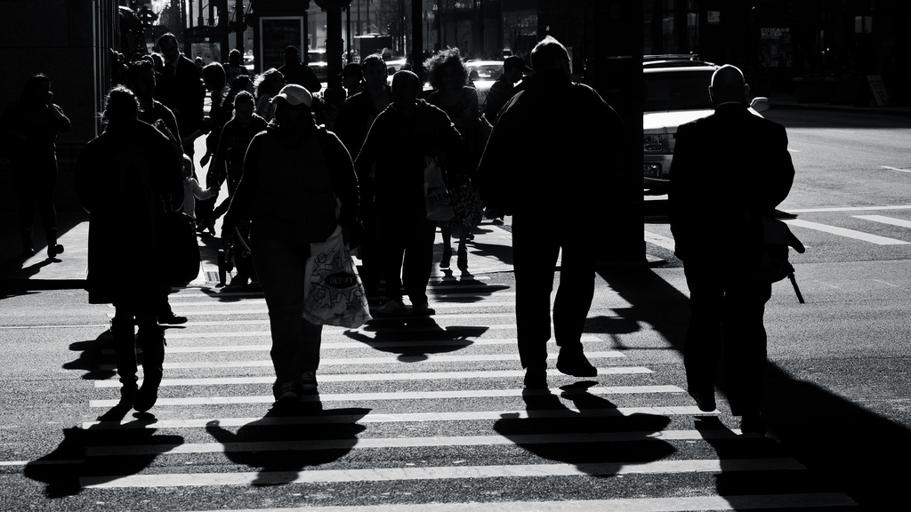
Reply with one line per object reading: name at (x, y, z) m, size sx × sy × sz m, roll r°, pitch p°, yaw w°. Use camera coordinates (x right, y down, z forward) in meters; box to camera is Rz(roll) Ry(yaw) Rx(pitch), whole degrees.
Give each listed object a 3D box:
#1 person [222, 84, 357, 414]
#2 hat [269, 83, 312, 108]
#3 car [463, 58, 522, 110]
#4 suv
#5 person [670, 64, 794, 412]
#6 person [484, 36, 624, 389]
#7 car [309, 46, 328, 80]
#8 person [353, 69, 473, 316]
person at (-1.477, -0.120, 9.138) m, size 1.102 × 2.834 × 0.864 m, roll -7°, pitch 13°, yaw -26°
hat at (-1.514, -1.467, 9.078) m, size 0.311 × 0.143 × 0.229 m, roll 18°, pitch -7°, yaw -33°
car at (0.995, -5.727, 32.748) m, size 2.338 × 1.573 × 3.717 m, roll -1°, pitch 5°, yaw -6°
suv at (4.859, -2.920, 20.629) m, size 3.071 × 1.919 × 4.387 m, roll -1°, pitch 6°, yaw 2°
person at (2.298, -0.115, 8.326) m, size 0.946 × 2.887 × 0.844 m, roll 5°, pitch 14°, yaw 26°
person at (0.903, -0.364, 9.282) m, size 1.341 × 3.204 × 0.657 m, roll 0°, pitch 12°, yaw 3°
car at (-8.464, -12.198, 61.423) m, size 1.249 × 2.422 × 0.873 m, roll -10°, pitch -7°, yaw 4°
person at (-0.559, -0.699, 11.861) m, size 1.237 × 2.960 × 0.482 m, roll -3°, pitch 12°, yaw -7°
